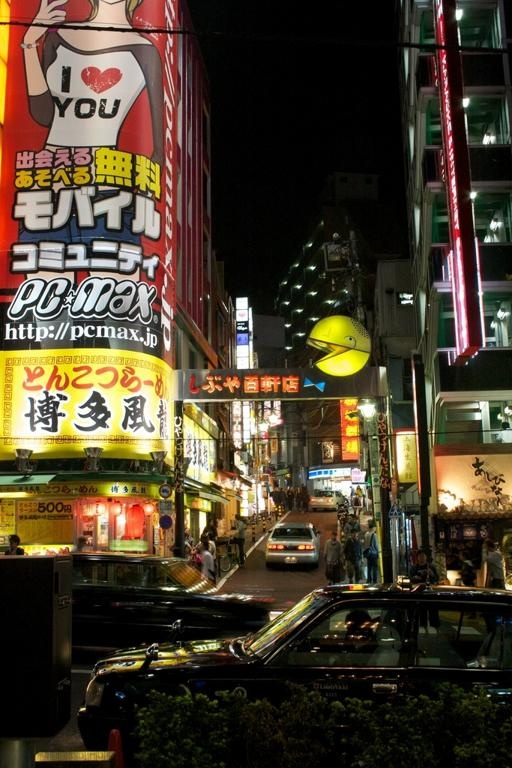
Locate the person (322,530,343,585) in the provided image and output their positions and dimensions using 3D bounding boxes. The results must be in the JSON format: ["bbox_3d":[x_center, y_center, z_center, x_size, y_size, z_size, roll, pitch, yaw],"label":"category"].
[{"bbox_3d":[2.022,4.536,19.627,0.453,1.466,1.894,-3,-8,6],"label":"person"}]

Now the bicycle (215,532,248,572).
[{"bbox_3d":[-0.944,6.073,27.335,0.858,1.129,1.887,-4,-15,17],"label":"bicycle"}]

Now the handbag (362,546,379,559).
[{"bbox_3d":[2.969,4.492,20.087,0.350,0.191,0.441,1,-3,-18],"label":"handbag"}]

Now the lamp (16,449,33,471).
[{"bbox_3d":[-6.623,2.195,21.634,0.439,0.703,0.519,0,-8,-18],"label":"lamp"}]

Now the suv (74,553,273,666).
[{"bbox_3d":[-1.113,3.018,10.458,2.751,1.265,1.506,-2,-4,1],"label":"suv"}]

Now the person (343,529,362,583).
[{"bbox_3d":[2.543,4.527,19.706,0.473,1.282,1.452,-3,-8,6],"label":"person"}]

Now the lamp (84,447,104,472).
[{"bbox_3d":[-4.660,2.131,21.473,0.618,0.778,0.641,-7,-8,27],"label":"lamp"}]

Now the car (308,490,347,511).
[{"bbox_3d":[4.701,8.103,51.958,1.651,1.208,3.629,-2,-2,24],"label":"car"}]

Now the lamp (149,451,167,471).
[{"bbox_3d":[-2.992,2.382,23.179,0.299,0.651,0.586,-8,-9,33],"label":"lamp"}]
